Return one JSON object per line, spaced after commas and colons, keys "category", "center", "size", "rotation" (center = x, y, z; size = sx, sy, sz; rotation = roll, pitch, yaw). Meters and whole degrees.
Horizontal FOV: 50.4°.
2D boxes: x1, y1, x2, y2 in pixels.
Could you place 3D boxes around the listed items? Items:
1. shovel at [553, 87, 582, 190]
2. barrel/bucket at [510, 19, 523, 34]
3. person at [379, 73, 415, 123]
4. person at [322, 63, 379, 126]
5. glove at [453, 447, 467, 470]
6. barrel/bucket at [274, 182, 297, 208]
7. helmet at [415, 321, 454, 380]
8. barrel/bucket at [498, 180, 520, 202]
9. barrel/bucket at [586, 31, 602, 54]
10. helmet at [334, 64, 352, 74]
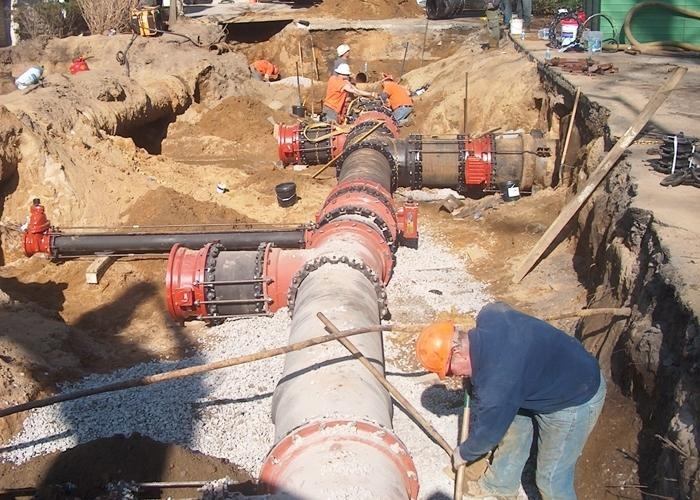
{"category": "shovel", "center": [4.344, -2.267, 14.909], "size": [0.249, 1.701, 0.225], "rotation": [-18, 31, -41]}
{"category": "barrel/bucket", "center": [4.852, -6.550, 21.735], "size": [0.332, 0.411, 0.540], "rotation": [2, 32, 5]}
{"category": "person", "center": [1.101, -4.103, 19.465], "size": [0.929, 0.504, 1.234], "rotation": [-24, 49, -28]}
{"category": "person", "center": [-0.192, -3.887, 18.525], "size": [0.930, 1.344, 1.169], "rotation": [-5, 32, -6]}
{"category": "glove", "center": [1.363, 2.640, 9.350], "size": [0.190, 0.088, 0.244], "rotation": [0, 63, 8]}
{"category": "barrel/bucket", "center": [-1.329, -1.255, 16.171], "size": [0.484, 0.486, 0.500], "rotation": [-3, 32, 2]}
{"category": "helmet", "center": [1.063, 1.231, 9.249], "size": [0.481, 0.370, 0.672], "rotation": [-11, 56, 40]}
{"category": "barrel/bucket", "center": [3.279, -1.218, 15.393], "size": [0.384, 0.390, 0.389], "rotation": [-2, 8, 0]}
{"category": "barrel/bucket", "center": [5.958, -5.141, 18.267], "size": [0.403, 0.464, 0.370], "rotation": [-1, 32, 1]}
{"category": "helmet", "center": [-0.146, -4.483, 18.399], "size": [0.330, 0.116, 0.335], "rotation": [-12, 36, -12]}
